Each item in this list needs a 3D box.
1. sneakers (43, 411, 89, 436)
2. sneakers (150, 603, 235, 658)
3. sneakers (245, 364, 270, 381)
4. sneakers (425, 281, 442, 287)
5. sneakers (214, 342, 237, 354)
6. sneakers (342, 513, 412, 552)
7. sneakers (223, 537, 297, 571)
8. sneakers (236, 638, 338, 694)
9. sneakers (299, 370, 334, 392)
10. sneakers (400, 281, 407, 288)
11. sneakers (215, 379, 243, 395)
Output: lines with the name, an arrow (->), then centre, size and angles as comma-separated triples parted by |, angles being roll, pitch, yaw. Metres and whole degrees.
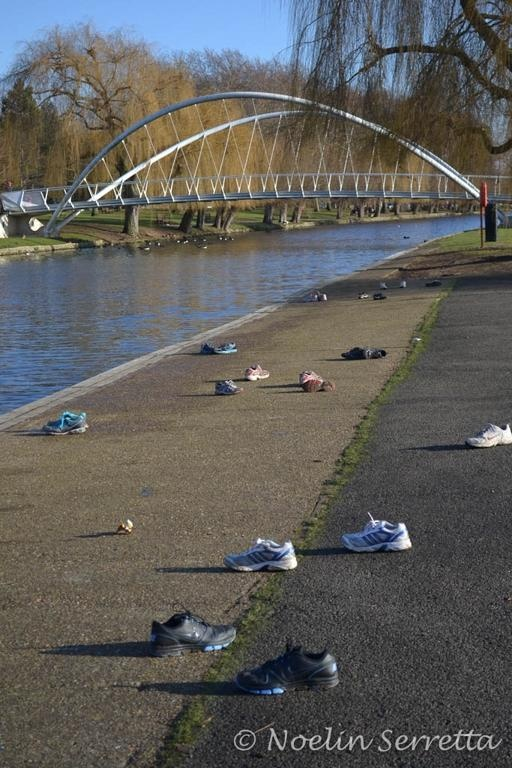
sneakers -> -1.716, 0.338, 7.841 | 0.331, 0.143, 0.217 | -3, 5, -34
sneakers -> -0.270, 1.043, 3.648 | 0.349, 0.147, 0.153 | -2, 8, -14
sneakers -> 0.008, -0.136, 10.251 | 0.149, 0.118, 0.277 | 3, 8, 17
sneakers -> 4.378, -2.501, 21.359 | 0.229, 0.173, 0.387 | -1, 0, -9
sneakers -> -0.525, -0.550, 12.903 | 0.411, 0.178, 0.154 | -1, 10, 16
sneakers -> 0.647, 0.807, 4.667 | 0.419, 0.215, 0.151 | 2, -3, 0
sneakers -> 0.031, 0.865, 4.431 | 0.391, 0.177, 0.152 | 1, -1, 2
sneakers -> 0.132, 1.088, 3.327 | 0.423, 0.180, 0.162 | -2, 1, -6
sneakers -> 0.641, -0.014, 9.190 | 0.287, 0.139, 0.211 | 8, 10, -5
sneakers -> 3.744, -2.541, 21.981 | 0.132, 0.168, 0.470 | -1, 0, 13
sneakers -> -0.316, 0.040, 9.504 | 0.293, 0.108, 0.360 | -4, 10, -3
